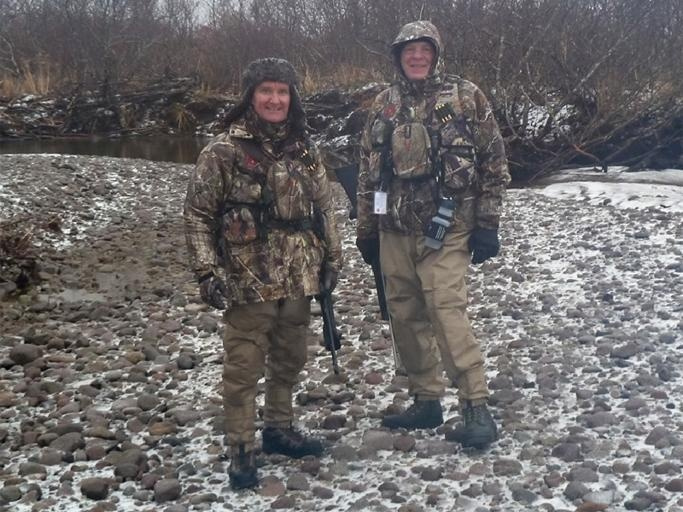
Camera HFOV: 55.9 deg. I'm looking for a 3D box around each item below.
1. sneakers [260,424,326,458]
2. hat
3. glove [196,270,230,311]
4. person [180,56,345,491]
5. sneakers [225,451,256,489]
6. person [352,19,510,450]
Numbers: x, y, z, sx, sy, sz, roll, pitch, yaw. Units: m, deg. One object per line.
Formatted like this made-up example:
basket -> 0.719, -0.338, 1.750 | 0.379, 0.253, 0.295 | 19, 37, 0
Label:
sneakers -> -0.346, 1.375, 4.726 | 0.625, 0.262, 0.232 | -13, -13, 31
hat -> -0.542, -1.149, 4.479 | 0.524, 0.412, 0.520 | 2, -18, -16
glove -> -0.843, 0.236, 4.290 | 0.193, 0.243, 0.129 | -28, -6, -12
person -> -0.572, 0.093, 4.419 | 0.876, 2.718, 1.209 | 11, 24, 23
sneakers -> -0.669, 1.427, 4.353 | 0.191, 0.260, 0.136 | -3, 22, -10
person -> 0.601, -0.159, 4.740 | 1.179, 2.868, 1.171 | 8, 23, 17
